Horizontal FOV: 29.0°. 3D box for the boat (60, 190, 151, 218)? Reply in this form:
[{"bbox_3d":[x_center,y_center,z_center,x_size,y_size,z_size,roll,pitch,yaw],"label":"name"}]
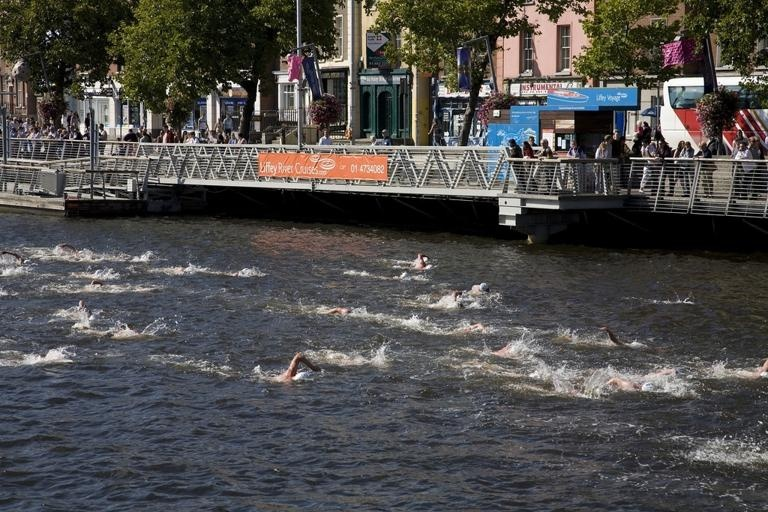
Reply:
[{"bbox_3d":[-12.440,-2.300,68.110,3.841,1.049,0.805,-8,14,-34],"label":"boat"}]

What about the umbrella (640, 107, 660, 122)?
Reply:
[{"bbox_3d":[14.564,-7.960,81.328,0.930,0.665,0.876,4,12,21],"label":"umbrella"}]
